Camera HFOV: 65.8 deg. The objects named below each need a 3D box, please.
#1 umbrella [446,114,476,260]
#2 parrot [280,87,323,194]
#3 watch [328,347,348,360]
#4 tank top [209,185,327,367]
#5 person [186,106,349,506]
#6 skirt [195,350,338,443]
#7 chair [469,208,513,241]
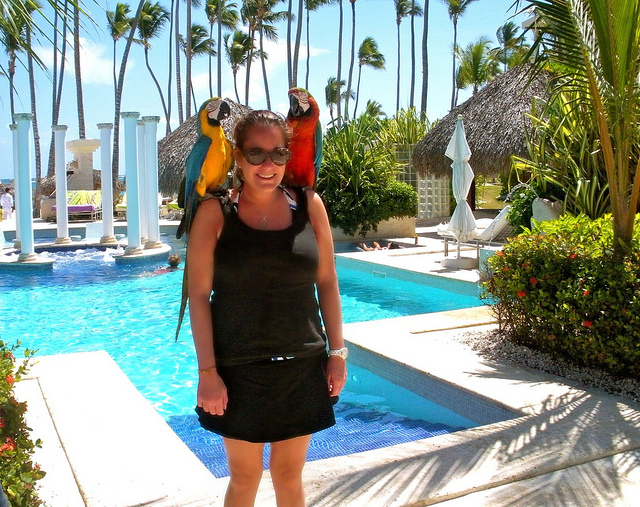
[{"bbox_3d":[2.750,-1.318,9.697,0.575,2.838,0.776,1,8,16],"label":"umbrella"},{"bbox_3d":[-0.089,-0.518,2.217,0.189,0.489,0.481,-1,8,0],"label":"parrot"},{"bbox_3d":[0.080,0.421,2.082,0.053,0.039,0.055,-3,-5,14],"label":"watch"},{"bbox_3d":[-0.230,0.060,2.005,0.459,0.726,0.357,-3,2,-21],"label":"tank top"},{"bbox_3d":[-0.198,0.217,1.967,0.631,1.570,0.335,-3,8,-18],"label":"person"},{"bbox_3d":[-0.171,0.398,1.879,0.519,0.388,0.310,-8,3,-18],"label":"skirt"},{"bbox_3d":[3.284,-0.527,9.381,0.483,0.484,0.856,-13,7,-43],"label":"chair"}]
